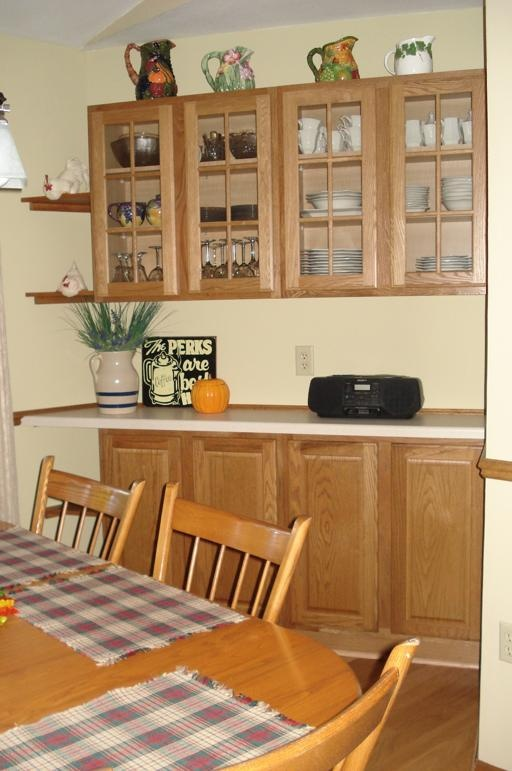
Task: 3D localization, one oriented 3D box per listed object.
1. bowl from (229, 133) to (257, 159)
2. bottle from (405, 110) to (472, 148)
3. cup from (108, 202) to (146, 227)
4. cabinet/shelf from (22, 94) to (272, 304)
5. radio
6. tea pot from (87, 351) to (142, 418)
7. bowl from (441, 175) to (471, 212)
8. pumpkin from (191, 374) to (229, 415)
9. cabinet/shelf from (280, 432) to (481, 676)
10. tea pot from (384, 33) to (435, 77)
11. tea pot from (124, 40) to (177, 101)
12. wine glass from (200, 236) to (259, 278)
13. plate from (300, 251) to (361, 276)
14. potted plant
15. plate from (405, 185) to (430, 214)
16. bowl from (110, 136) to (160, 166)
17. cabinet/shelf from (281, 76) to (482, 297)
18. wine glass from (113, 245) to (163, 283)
[{"bbox_3d":[-0.051,-1.001,2.561,0.111,0.070,0.112,-2,11,0],"label":"bowl"},{"bbox_3d":[0.690,-0.963,2.351,0.227,0.145,0.128,1,15,11],"label":"bottle"},{"bbox_3d":[-0.568,-0.753,2.735,0.149,0.104,0.102,4,10,21],"label":"cup"},{"bbox_3d":[-0.452,-0.811,2.682,0.940,0.903,0.304,0,3,13],"label":"cabinet/shelf"},{"bbox_3d":[0.439,0.051,2.515,0.446,0.178,0.100,-2,0,24],"label":"radio"},{"bbox_3d":[-0.662,-0.018,2.870,0.247,0.281,0.200,-4,4,-41],"label":"tea pot"},{"bbox_3d":[0.764,-0.728,2.346,0.129,0.092,0.130,-1,10,0],"label":"bowl"},{"bbox_3d":[-0.209,0.038,2.816,0.153,0.135,0.151,-4,8,-33],"label":"pumpkin"},{"bbox_3d":[0.508,0.601,2.493,0.781,0.800,0.290,1,-1,11],"label":"cabinet/shelf"},{"bbox_3d":[0.583,-1.246,2.387,0.187,0.155,0.103,-2,0,42],"label":"tea pot"},{"bbox_3d":[-0.466,-1.387,2.748,0.232,0.269,0.181,4,12,18],"label":"tea pot"},{"bbox_3d":[-0.108,-0.537,2.620,0.296,0.204,0.159,0,13,11],"label":"wine glass"},{"bbox_3d":[0.311,-0.498,2.488,0.146,0.063,0.149,-1,4,-3],"label":"plate"},{"bbox_3d":[-0.614,-0.136,3.042,0.523,0.698,0.486,1,3,25],"label":"potted plant"},{"bbox_3d":[0.623,-0.719,2.390,0.118,0.121,0.028,-1,5,-1],"label":"plate"},{"bbox_3d":[-0.515,-1.002,2.685,0.160,0.084,0.163,-1,12,0],"label":"bowl"},{"bbox_3d":[0.512,-0.794,2.405,0.861,0.828,0.280,1,3,14],"label":"cabinet/shelf"},{"bbox_3d":[-0.525,-0.528,2.757,0.186,0.168,0.185,-5,12,-24],"label":"wine glass"}]
